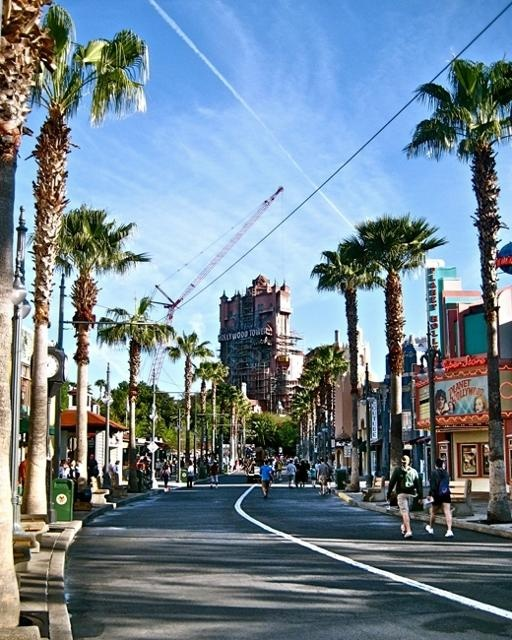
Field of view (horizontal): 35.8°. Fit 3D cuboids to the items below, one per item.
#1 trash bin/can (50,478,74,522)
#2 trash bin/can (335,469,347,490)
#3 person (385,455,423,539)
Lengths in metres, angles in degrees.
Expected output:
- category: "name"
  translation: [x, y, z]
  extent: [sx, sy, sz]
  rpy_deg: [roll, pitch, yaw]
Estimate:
- category: "trash bin/can"
  translation: [-5.083, 4.753, 20.827]
  extent: [0.523, 1.088, 0.614]
  rpy_deg: [3, -11, -16]
- category: "trash bin/can"
  translation: [5.004, 9.342, 46.336]
  extent: [0.563, 1.075, 0.701]
  rpy_deg: [-3, -11, 14]
- category: "person"
  translation: [3.390, 3.780, 17.514]
  extent: [0.979, 2.097, 1.034]
  rpy_deg: [-1, -6, -6]
